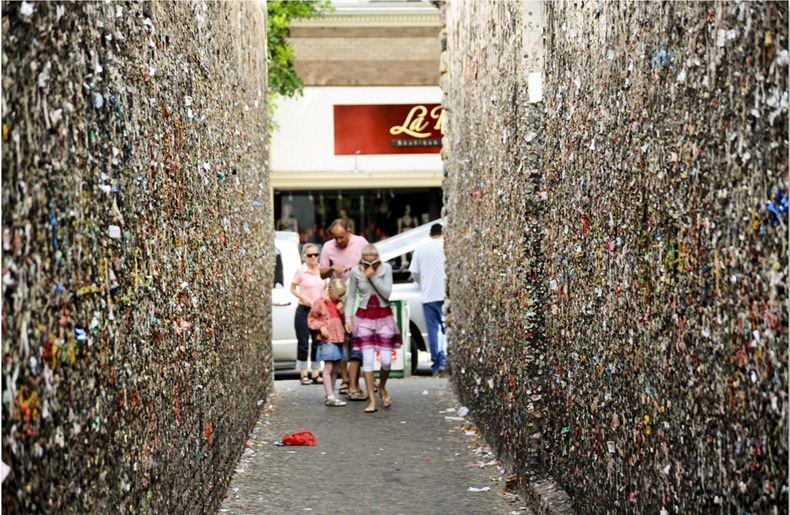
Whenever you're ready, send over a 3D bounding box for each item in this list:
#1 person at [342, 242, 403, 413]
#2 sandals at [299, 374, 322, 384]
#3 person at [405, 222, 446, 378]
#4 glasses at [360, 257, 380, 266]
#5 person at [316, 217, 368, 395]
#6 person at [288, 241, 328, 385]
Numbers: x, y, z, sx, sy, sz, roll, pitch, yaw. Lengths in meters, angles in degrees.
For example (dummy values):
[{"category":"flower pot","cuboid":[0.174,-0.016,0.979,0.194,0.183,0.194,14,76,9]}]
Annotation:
[{"category":"person","cuboid":[-0.212,0.641,9.919,0.511,1.531,0.568,0,3,-3]},{"category":"sandals","cuboid":[-0.923,1.330,11.609,0.255,0.082,0.107,5,-2,-19]},{"category":"person","cuboid":[0.374,0.471,12.109,0.408,1.726,0.525,0,3,2]},{"category":"glasses","cuboid":[-0.235,0.035,9.827,0.195,0.091,0.160,0,3,-4]},{"category":"person","cuboid":[-0.536,0.534,11.131,0.592,2.041,0.526,-1,3,-29]},{"category":"person","cuboid":[-0.871,0.567,11.240,0.475,1.491,0.477,13,16,43]}]
